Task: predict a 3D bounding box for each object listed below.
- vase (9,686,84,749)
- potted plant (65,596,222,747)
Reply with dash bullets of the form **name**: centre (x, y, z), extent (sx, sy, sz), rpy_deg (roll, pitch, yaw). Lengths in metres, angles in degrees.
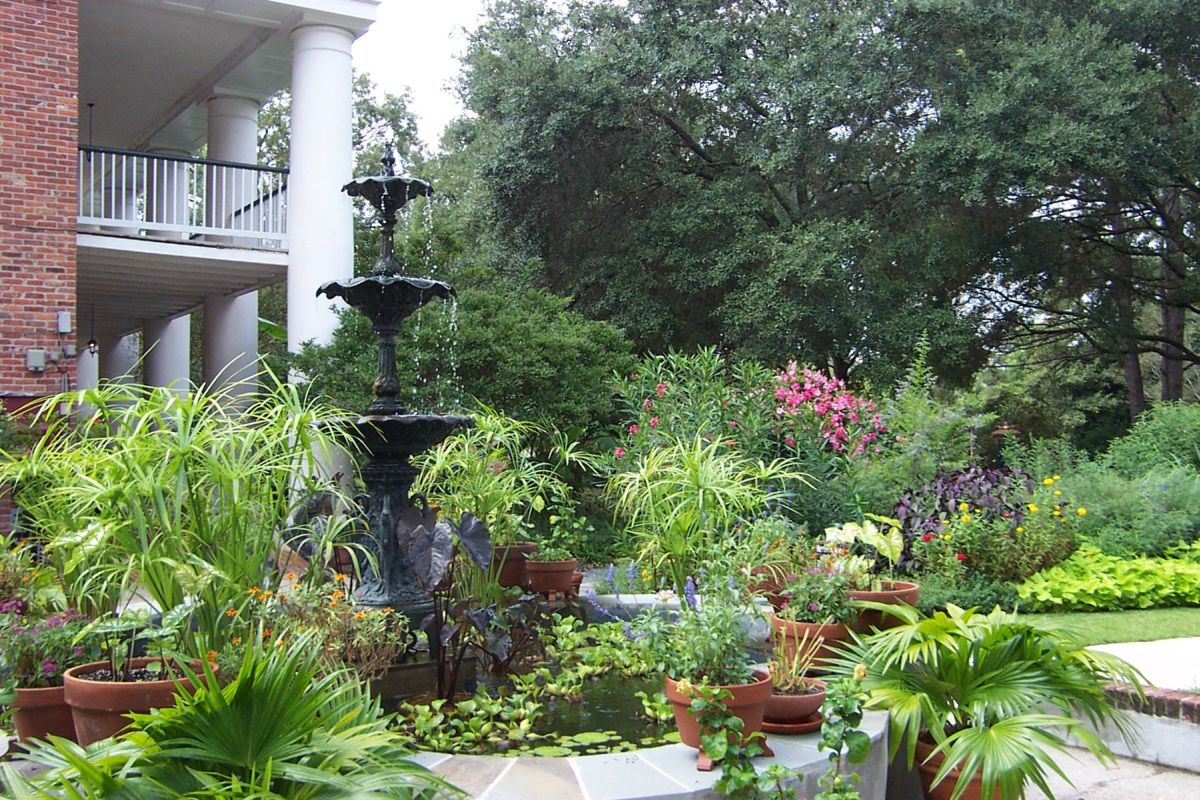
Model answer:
- **vase**: centre (-3.869, 2.135, 7.483), extent (0.493, 0.387, 0.513), rpy_deg (-1, -12, -4)
- **potted plant**: centre (-3.158, 1.860, 7.241), extent (0.760, 0.575, 0.791), rpy_deg (0, -8, 0)
